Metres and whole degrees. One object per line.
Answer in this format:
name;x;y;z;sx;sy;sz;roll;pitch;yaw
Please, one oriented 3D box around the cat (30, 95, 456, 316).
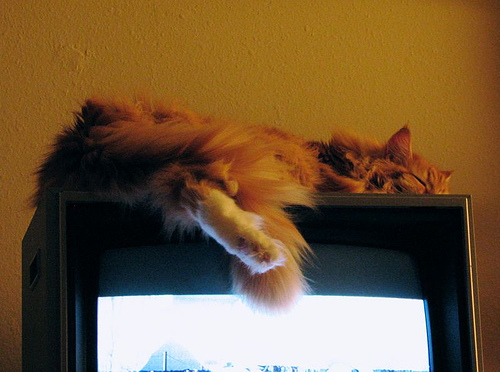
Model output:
cat;-0.013;0.023;1.771;0.815;0.297;0.517;18;-5;-18
